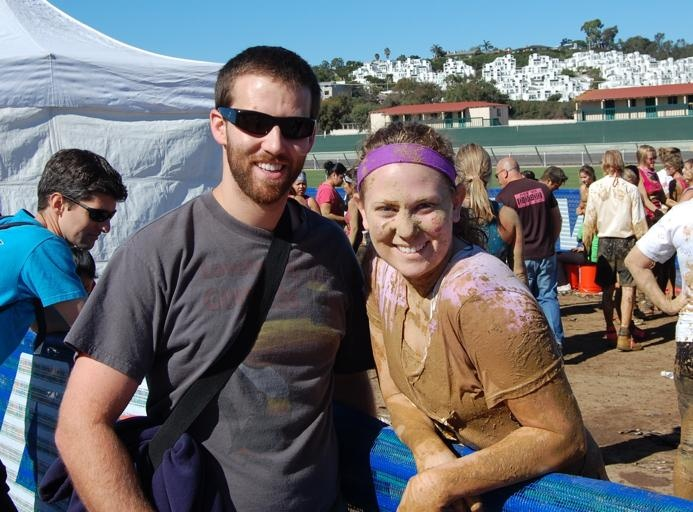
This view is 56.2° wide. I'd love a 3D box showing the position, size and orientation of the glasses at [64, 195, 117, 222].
[{"bbox_3d":[-1.370,-0.253,3.456,0.157,0.052,0.158,30,8,10],"label":"glasses"}]
